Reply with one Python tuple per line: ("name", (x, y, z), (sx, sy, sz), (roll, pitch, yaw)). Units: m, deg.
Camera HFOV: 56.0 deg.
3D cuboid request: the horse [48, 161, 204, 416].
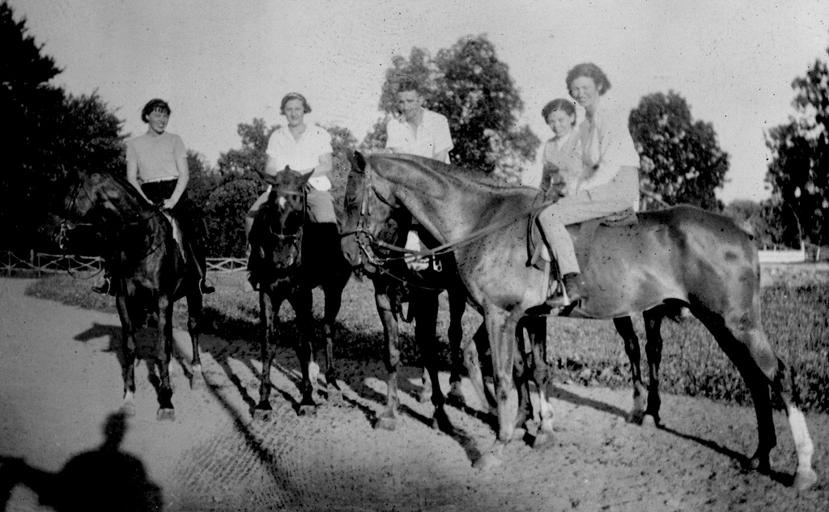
("horse", (-5.040, 0.760, 14.966), (1.186, 4.430, 5.231), (-4, -4, 4))
